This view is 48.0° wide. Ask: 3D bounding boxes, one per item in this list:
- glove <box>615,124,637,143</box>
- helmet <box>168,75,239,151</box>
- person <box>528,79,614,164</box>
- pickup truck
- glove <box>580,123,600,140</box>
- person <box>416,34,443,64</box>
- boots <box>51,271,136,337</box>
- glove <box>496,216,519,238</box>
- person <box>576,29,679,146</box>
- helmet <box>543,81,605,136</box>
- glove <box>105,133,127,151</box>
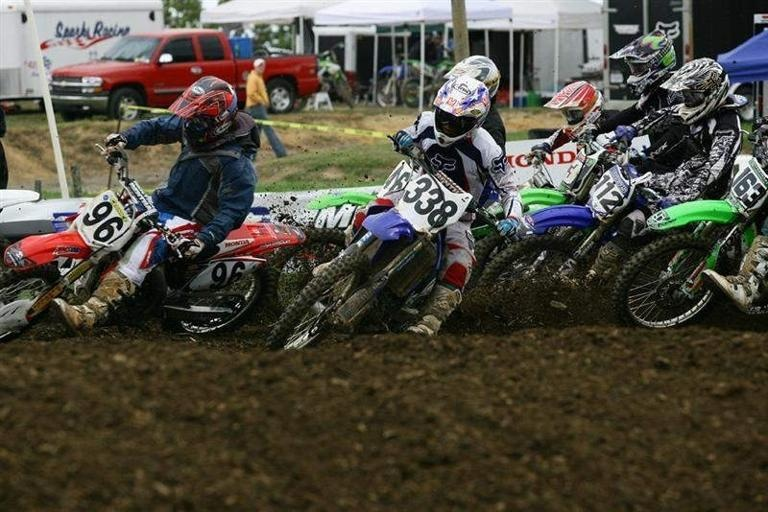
[{"bbox_3d":[2.350,-1.214,8.408,0.150,0.073,0.190,4,37,16],"label":"glove"},{"bbox_3d":[-1.495,-1.284,7.757,0.646,0.571,0.495,-30,71,-18],"label":"helmet"},{"bbox_3d":[1.892,-1.516,9.212,0.996,0.601,0.564,-25,36,-16],"label":"person"},{"bbox_3d":[-4.098,-4.086,17.857,5.258,1.728,2.488,-4,8,-32],"label":"pickup truck"},{"bbox_3d":[2.062,-1.268,8.713,0.102,0.096,0.311,9,24,19],"label":"glove"},{"bbox_3d":[1.276,-5.705,23.838,0.500,0.821,0.528,-2,-6,15],"label":"person"},{"bbox_3d":[-2.446,0.410,7.451,0.278,0.554,0.802,10,-12,38],"label":"boots"},{"bbox_3d":[1.031,-0.248,7.223,0.135,0.161,0.181,39,37,-10],"label":"glove"},{"bbox_3d":[2.757,-1.837,9.594,1.066,1.183,0.869,-18,17,-11],"label":"person"},{"bbox_3d":[2.042,-1.598,9.190,0.646,0.496,0.440,-22,22,-22],"label":"helmet"},{"bbox_3d":[-2.395,-1.007,7.668,0.187,0.131,0.084,0,-8,14],"label":"glove"}]
